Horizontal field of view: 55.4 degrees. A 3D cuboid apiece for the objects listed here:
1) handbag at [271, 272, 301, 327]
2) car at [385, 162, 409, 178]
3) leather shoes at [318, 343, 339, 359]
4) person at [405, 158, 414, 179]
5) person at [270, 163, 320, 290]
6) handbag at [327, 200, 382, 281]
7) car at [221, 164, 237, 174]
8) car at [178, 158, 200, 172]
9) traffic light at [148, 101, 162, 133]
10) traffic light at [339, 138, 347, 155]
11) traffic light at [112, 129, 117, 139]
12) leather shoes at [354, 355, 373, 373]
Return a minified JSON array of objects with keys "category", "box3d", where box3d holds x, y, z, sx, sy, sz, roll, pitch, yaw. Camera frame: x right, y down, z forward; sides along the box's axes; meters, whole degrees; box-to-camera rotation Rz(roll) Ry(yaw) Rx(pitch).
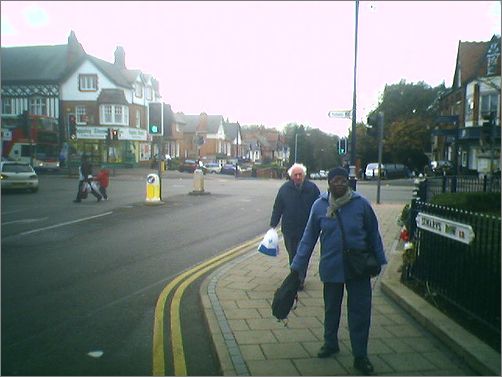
[{"category":"handbag","box3d":[0.421,1.307,5.698,0.191,0.635,0.361,16,-22,19]},{"category":"car","box3d":[16.216,-1.862,53.637,1.032,2.123,7.344,3,9,32]},{"category":"leather shoes","box3d":[0.949,1.953,5.754,0.308,0.143,0.105,4,-6,-33]},{"category":"person","box3d":[19.323,-2.563,58.789,1.078,2.375,0.471,4,5,-21]},{"category":"person","box3d":[0.779,0.588,8.108,0.881,2.164,0.604,7,25,19]},{"category":"handbag","box3d":[1.230,0.669,5.578,0.544,0.793,0.259,0,7,11]},{"category":"car","box3d":[-2.549,-2.112,53.312,1.468,0.884,0.986,-2,10,8]},{"category":"car","box3d":[-6.323,-2.257,49.065,2.514,1.210,1.261,6,10,44]},{"category":"traffic light","box3d":[-3.603,-2.627,18.093,0.537,1.268,0.423,-2,7,-5]},{"category":"traffic light","box3d":[4.281,-1.975,22.308,0.335,0.748,1.058,0,8,13]},{"category":"traffic light","box3d":[-10.192,-4.013,35.840,0.306,0.697,0.564,-4,8,-26]},{"category":"leather shoes","box3d":[1.272,2.013,5.418,0.227,0.164,0.115,1,7,18]}]
